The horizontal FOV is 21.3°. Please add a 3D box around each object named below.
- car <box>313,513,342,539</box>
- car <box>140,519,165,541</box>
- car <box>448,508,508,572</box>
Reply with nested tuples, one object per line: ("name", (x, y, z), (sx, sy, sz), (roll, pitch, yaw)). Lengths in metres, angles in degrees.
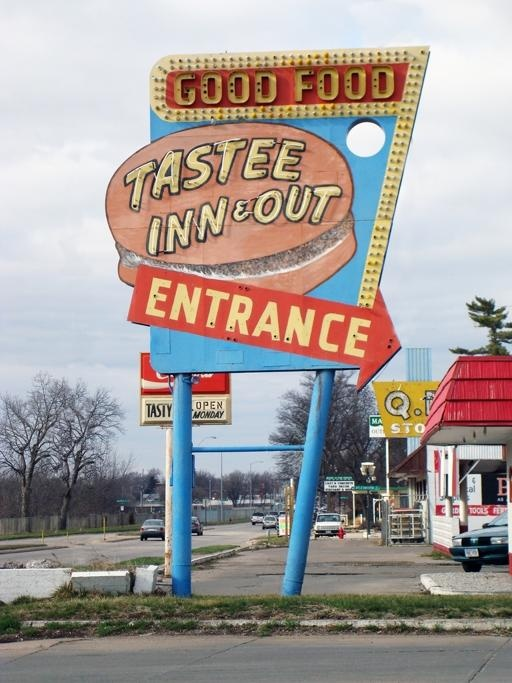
("car", (2.975, 7.690, 57.649), (1.049, 1.160, 2.330), (1, -13, 3))
("car", (-4.399, 8.103, 58.125), (0.902, 0.907, 2.565), (1, 2, 0))
("car", (4.587, 4.174, 28.303), (1.172, 1.266, 1.555), (-1, -12, 9))
